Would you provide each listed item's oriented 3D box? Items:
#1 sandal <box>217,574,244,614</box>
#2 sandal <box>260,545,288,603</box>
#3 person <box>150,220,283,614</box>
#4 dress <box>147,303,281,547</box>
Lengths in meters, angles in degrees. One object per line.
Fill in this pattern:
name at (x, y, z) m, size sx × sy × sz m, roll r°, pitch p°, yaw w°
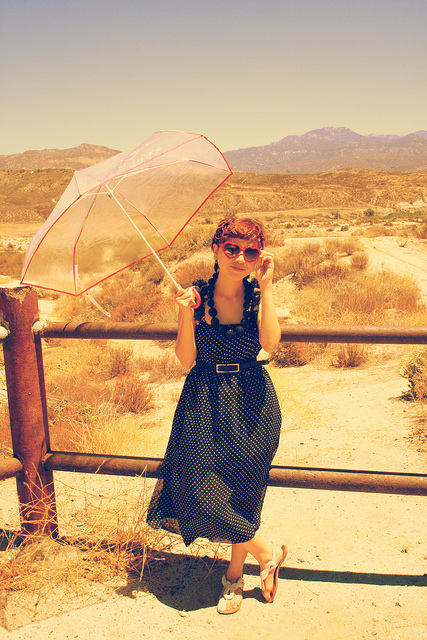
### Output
sandal at (0.088, 1.260, 2.732) m, size 0.080 × 0.089 × 0.244 m, roll 2°, pitch 0°, yaw 16°
sandal at (0.269, 1.160, 2.744) m, size 0.074 × 0.255 × 0.102 m, roll 8°, pitch 2°, yaw -3°
person at (0.015, 0.431, 2.706) m, size 0.668 × 1.745 × 0.386 m, roll -5°, pitch 7°, yaw -8°
dress at (0.018, 0.416, 2.794) m, size 0.590 × 1.179 × 0.367 m, roll 4°, pitch -5°, yaw 2°
